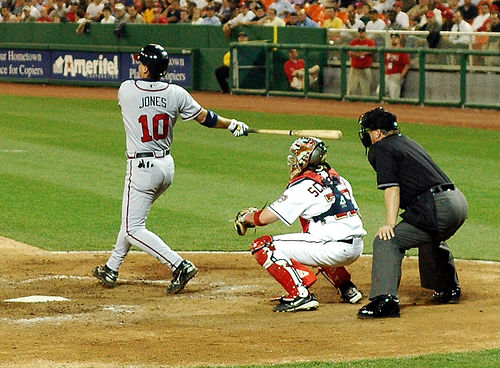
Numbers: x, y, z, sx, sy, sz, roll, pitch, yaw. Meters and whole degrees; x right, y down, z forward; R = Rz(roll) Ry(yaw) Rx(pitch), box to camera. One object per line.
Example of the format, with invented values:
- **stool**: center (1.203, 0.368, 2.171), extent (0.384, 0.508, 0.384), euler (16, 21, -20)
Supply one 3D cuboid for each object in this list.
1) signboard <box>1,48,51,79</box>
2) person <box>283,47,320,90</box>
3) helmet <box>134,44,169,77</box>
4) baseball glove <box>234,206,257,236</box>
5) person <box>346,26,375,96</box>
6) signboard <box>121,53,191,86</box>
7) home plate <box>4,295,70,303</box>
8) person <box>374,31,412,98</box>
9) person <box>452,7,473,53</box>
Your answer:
- **signboard**: center (-6.620, -3.525, 27.725), extent (2.071, 0.840, 0.292), euler (6, 6, 31)
- **person**: center (1.248, -2.877, 23.699), extent (0.896, 1.034, 0.572), euler (4, 6, 15)
- **helmet**: center (-1.117, -1.400, 10.971), extent (0.291, 0.236, 0.410), euler (-22, 53, -40)
- **baseball glove**: center (-0.088, 0.410, 10.609), extent (0.156, 0.341, 0.184), euler (16, -6, 34)
- **person**: center (2.638, -2.934, 22.799), extent (0.510, 1.592, 0.694), euler (0, 6, -24)
- **signboard**: center (-2.485, -3.120, 25.541), extent (2.069, 1.033, 0.235), euler (3, 13, 14)
- **home plate**: center (-2.439, 1.289, 10.788), extent (0.693, 0.044, 0.237), euler (1, 6, -11)
- **person**: center (3.370, -2.786, 22.139), extent (0.751, 1.535, 0.454), euler (4, 6, 20)
- **person**: center (4.736, -3.410, 21.210), extent (0.476, 0.931, 0.720), euler (4, 6, 12)
